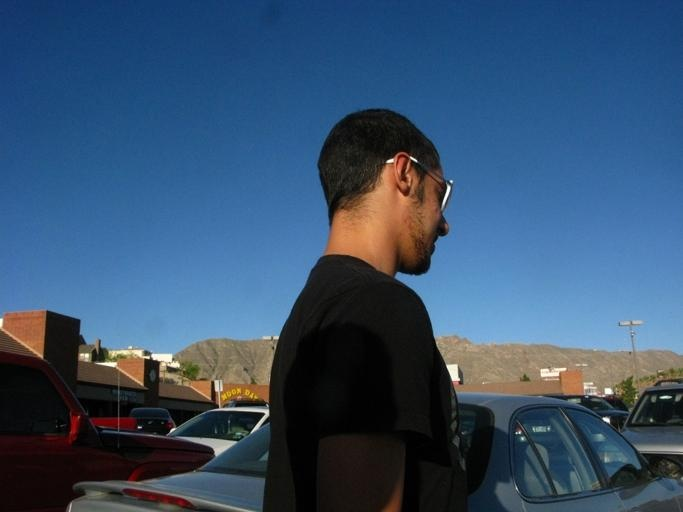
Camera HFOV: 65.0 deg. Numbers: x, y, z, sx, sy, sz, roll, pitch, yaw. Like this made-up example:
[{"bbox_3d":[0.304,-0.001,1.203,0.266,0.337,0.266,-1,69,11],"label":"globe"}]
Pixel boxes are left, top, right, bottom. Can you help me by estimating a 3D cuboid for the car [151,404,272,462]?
[{"bbox_3d":[-1.964,2.788,8.817,1.056,0.859,2.340,-10,-19,32],"label":"car"}]
